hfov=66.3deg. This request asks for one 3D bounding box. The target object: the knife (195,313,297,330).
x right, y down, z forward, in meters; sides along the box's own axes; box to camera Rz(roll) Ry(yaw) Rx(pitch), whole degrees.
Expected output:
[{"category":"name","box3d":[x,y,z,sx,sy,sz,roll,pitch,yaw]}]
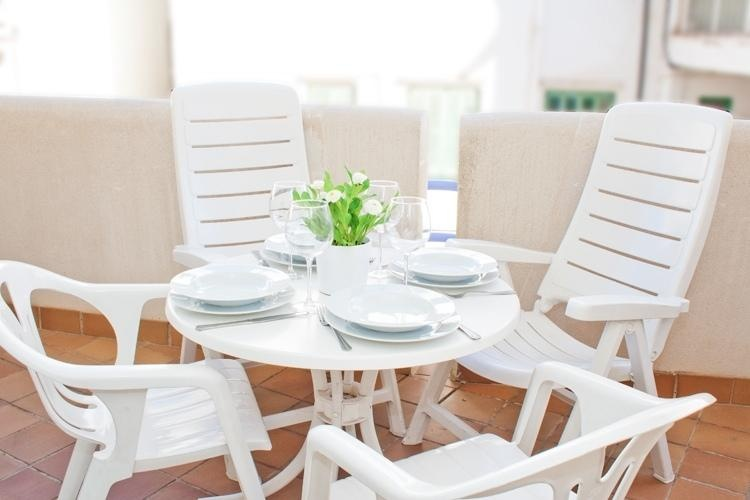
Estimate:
[{"category":"knife","box3d":[-0.344,0.187,1.499,0.331,0.013,0.039,0,29,-22]}]

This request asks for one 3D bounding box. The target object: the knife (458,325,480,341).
[{"category":"knife","box3d":[0.240,0.205,1.477,0.018,0.012,0.118,-12,11,-9]}]

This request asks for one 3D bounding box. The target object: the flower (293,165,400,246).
[{"category":"flower","box3d":[-0.056,-0.111,1.679,0.271,0.170,0.276,13,-2,-25]}]

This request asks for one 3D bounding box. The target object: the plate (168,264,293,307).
[{"category":"plate","box3d":[-0.416,0.091,1.638,0.188,0.017,0.180,-12,25,-37]}]

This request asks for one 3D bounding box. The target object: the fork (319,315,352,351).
[{"category":"fork","box3d":[-0.107,0.198,1.484,0.033,0.027,0.187,-11,31,-20]}]

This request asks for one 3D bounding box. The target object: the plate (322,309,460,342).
[{"category":"plate","box3d":[0.046,0.193,1.451,0.343,0.026,0.117,1,19,-2]}]

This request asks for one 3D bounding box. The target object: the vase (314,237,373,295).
[{"category":"vase","box3d":[-0.084,0.045,1.589,0.158,0.114,0.160,-1,5,-6]}]

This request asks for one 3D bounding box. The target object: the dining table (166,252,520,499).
[{"category":"dining table","box3d":[-0.102,0.359,1.663,0.757,0.293,0.675,4,24,7]}]
